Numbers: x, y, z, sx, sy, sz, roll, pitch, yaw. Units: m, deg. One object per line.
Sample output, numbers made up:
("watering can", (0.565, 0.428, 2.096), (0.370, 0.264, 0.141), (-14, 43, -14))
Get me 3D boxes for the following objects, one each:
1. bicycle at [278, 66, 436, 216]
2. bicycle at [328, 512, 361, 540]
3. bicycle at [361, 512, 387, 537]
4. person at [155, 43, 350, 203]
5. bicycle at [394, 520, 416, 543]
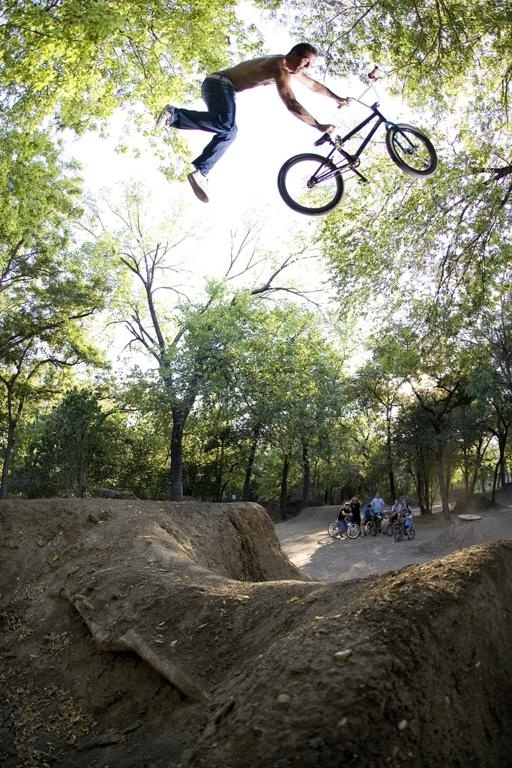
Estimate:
("bicycle", (1.248, -2.964, 6.740), (2.065, 1.387, 1.136), (-18, -7, -3))
("bicycle", (3.504, 5.857, 21.300), (1.050, 0.731, 0.558), (-4, -25, 12))
("bicycle", (4.837, 5.853, 21.975), (0.610, 0.806, 1.227), (5, -16, -18))
("person", (-0.119, -2.897, 5.725), (1.790, 1.404, 0.966), (-9, 2, -1))
("bicycle", (5.400, 5.435, 19.522), (0.700, 0.581, 0.722), (-8, 2, 10))
